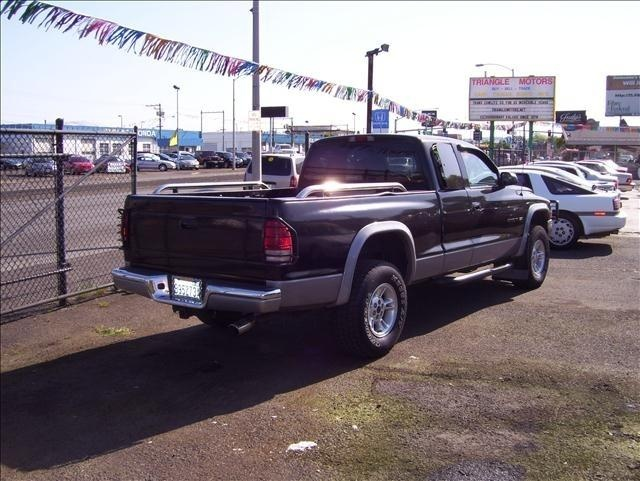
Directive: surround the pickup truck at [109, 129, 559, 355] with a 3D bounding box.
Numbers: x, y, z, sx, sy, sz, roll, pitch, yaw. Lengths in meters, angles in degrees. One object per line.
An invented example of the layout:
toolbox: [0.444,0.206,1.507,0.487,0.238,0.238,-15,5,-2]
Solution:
pickup truck: [0.850,-0.064,6.401,2.525,1.857,5.982,6,11,40]
